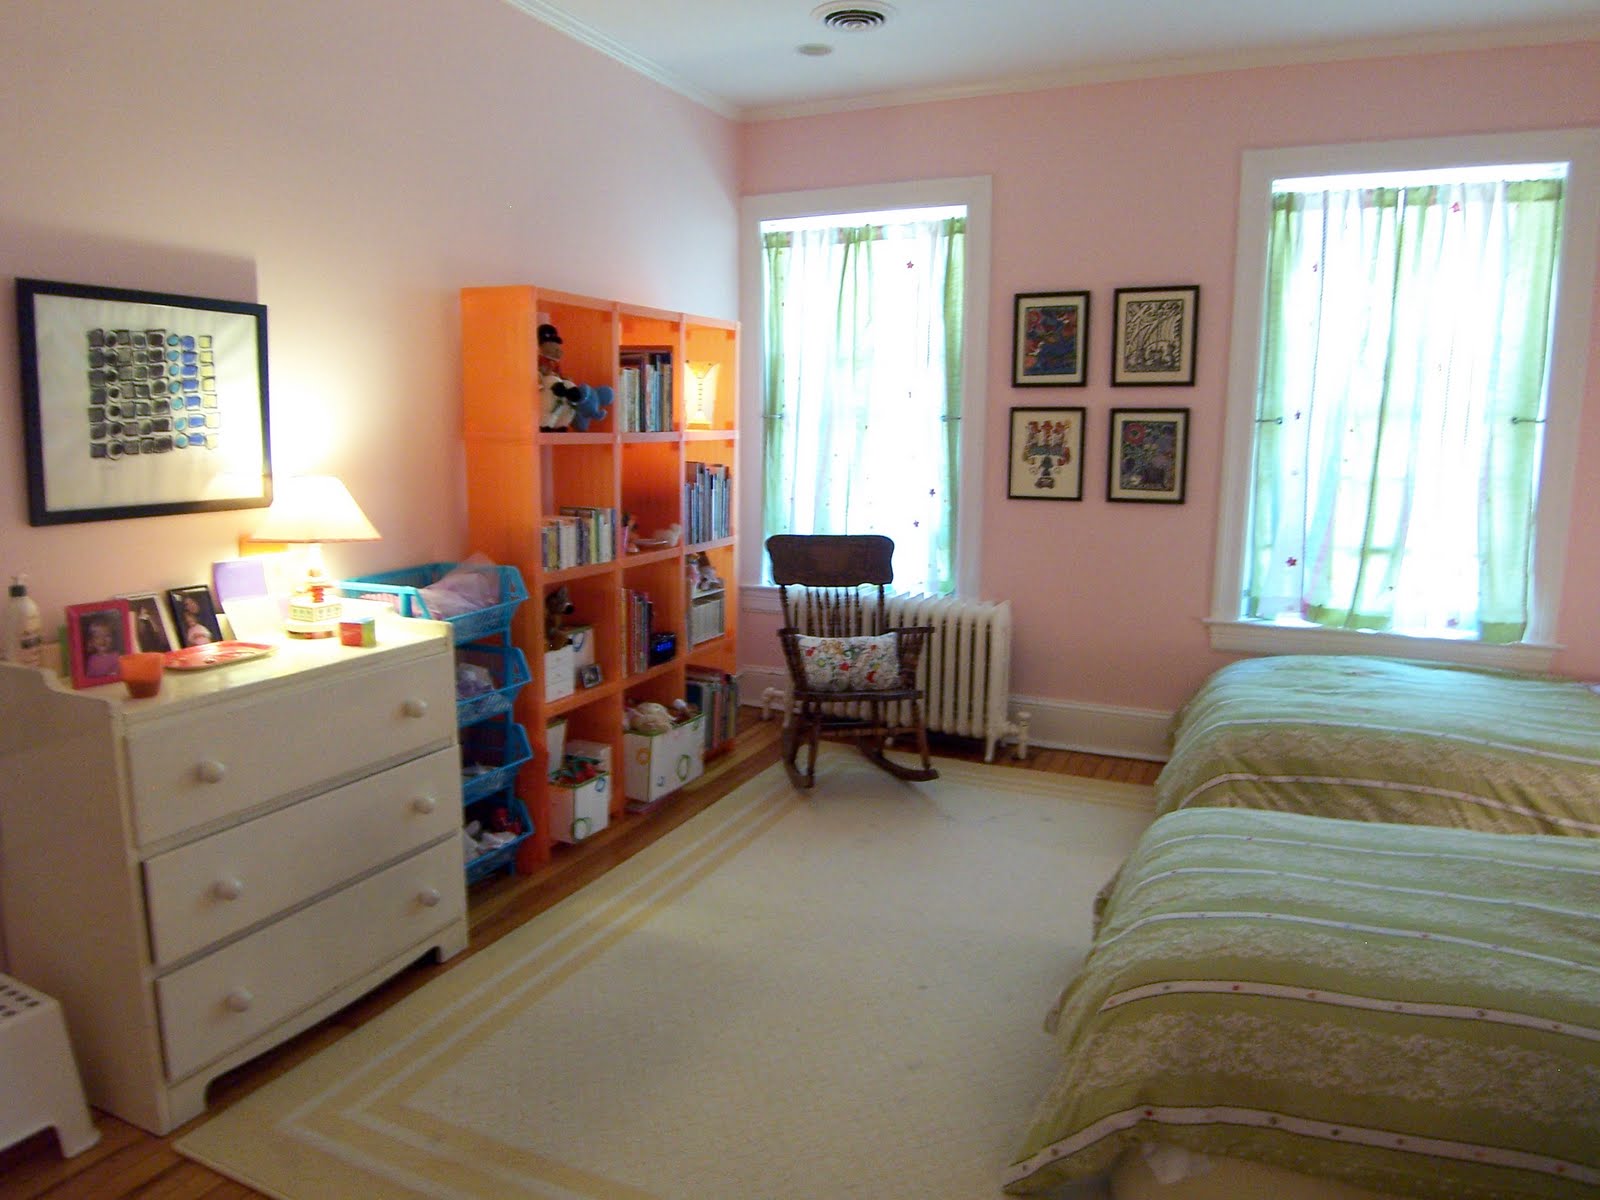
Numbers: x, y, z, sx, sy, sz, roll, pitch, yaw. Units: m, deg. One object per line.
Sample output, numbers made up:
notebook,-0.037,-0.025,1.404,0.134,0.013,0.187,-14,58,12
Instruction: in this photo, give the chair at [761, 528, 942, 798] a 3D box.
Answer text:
chair,0.236,0.294,5.291,0.714,1.085,0.843,-5,11,-29

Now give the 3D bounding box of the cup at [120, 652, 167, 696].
cup,-1.710,0.194,3.102,0.104,0.106,0.109,2,7,0

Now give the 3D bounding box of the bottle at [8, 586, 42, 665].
bottle,-2.081,0.056,3.201,0.075,0.224,0.061,-8,12,-33

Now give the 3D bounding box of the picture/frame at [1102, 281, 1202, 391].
picture/frame,1.600,-1.181,5.329,0.489,0.561,0.025,3,9,26

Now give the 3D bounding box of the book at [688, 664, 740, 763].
book,-0.330,0.492,5.603,0.335,0.451,0.468,0,5,0

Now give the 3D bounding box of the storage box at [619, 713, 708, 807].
storage box,-0.575,0.661,5.082,0.213,0.245,0.393,4,10,30

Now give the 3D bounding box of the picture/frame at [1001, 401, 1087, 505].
picture/frame,1.163,-0.698,5.573,0.476,0.576,0.058,2,7,23

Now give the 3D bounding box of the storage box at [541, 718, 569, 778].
storage box,-0.932,0.566,4.519,0.110,0.186,0.198,3,13,0

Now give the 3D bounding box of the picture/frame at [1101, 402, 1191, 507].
picture/frame,1.592,-0.666,5.404,0.465,0.609,0.042,3,8,27

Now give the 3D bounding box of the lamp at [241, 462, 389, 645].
lamp,-1.510,-0.168,3.925,0.488,0.597,0.504,-1,12,-11

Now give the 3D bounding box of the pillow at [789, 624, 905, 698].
pillow,0.218,0.277,5.196,0.449,0.220,0.250,-1,9,1

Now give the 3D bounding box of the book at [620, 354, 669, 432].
book,-0.639,-0.853,4.880,0.117,0.331,0.371,2,10,19

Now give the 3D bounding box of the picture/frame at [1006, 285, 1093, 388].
picture/frame,1.173,-1.216,5.494,0.471,0.569,0.045,2,8,24

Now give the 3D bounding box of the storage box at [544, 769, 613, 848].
storage box,-0.822,0.780,4.590,0.212,0.256,0.352,1,3,18

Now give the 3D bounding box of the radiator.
radiator,0.717,0.338,5.743,0.599,0.692,0.325,6,12,28
